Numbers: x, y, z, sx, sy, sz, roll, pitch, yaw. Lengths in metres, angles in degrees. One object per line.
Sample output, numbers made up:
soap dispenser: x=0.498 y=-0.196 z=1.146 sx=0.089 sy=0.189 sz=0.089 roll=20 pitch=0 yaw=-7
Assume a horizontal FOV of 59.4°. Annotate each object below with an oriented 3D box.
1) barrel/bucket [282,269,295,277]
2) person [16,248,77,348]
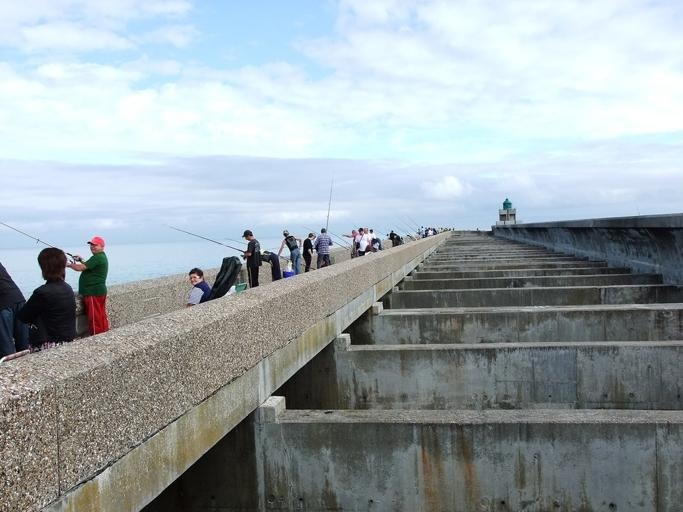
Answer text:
barrel/bucket: x=-1.405 y=0.469 z=15.678 sx=0.334 sy=0.279 sz=0.332 roll=-1 pitch=-7 yaw=0
person: x=-2.912 y=0.399 z=5.978 sx=0.556 sy=0.981 sz=0.575 roll=0 pitch=1 yaw=-44
